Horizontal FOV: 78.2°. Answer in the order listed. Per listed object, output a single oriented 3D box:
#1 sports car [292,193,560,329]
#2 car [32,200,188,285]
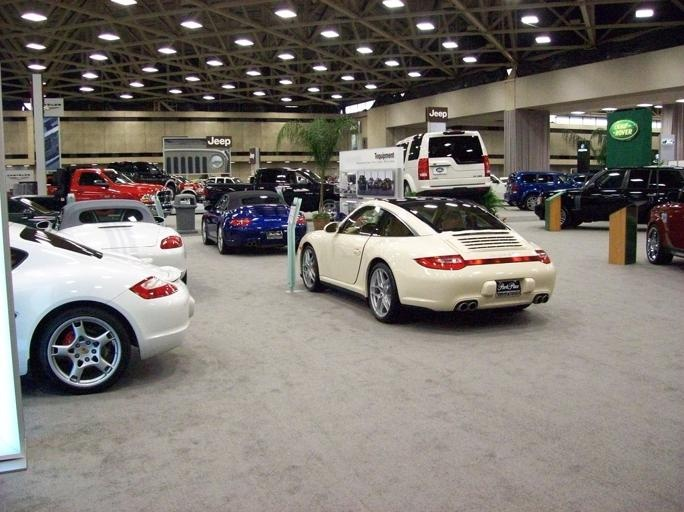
[{"bbox_3d":[0.859,-0.058,7.033,1.962,1.164,3.686,-2,7,-26],"label":"sports car"},{"bbox_3d":[-4.161,-0.473,7.932,1.742,1.219,3.529,0,7,-16],"label":"car"}]
